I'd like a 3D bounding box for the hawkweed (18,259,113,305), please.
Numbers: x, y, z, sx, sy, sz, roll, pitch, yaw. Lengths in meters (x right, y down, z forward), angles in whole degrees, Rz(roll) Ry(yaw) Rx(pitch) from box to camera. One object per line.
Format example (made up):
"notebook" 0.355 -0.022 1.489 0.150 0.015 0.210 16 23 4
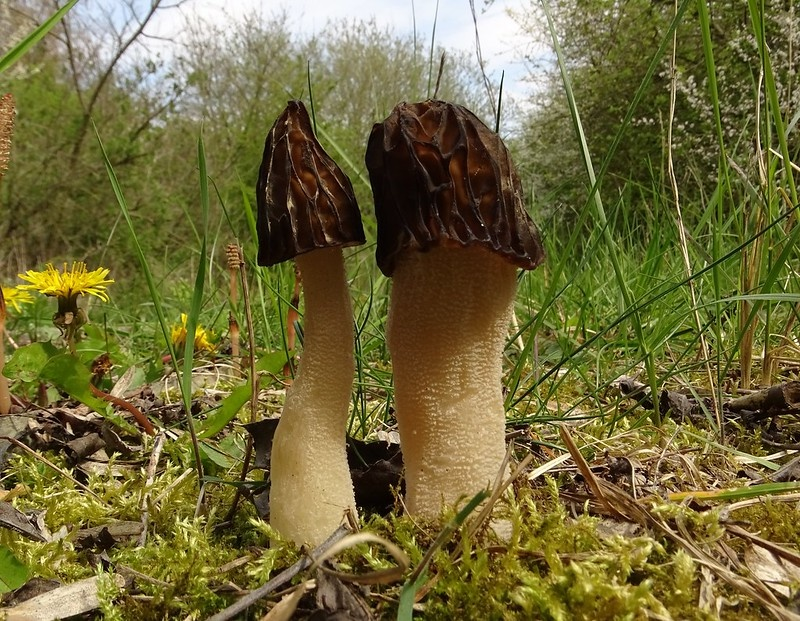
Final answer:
"hawkweed" -1.635 -0.142 3.643 0.438 0.281 0.450 5 2 30

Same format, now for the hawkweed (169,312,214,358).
"hawkweed" -1.172 0.152 4.247 0.240 0.265 0.688 0 5 -14

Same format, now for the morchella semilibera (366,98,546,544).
"morchella semilibera" 0.202 -0.008 2.911 0.670 1.590 0.315 1 4 -5
